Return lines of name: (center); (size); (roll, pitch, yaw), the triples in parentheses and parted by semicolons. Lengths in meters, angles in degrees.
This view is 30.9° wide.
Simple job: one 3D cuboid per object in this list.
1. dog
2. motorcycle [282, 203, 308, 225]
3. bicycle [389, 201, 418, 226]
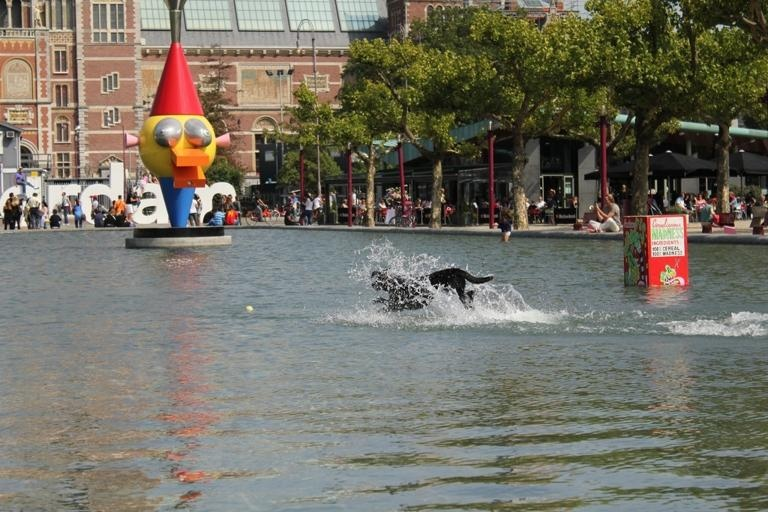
dog: (0.951, 0.632, 25.620); (2.391, 0.866, 0.469); (-8, 0, -23)
motorcycle: (-4.052, -1.884, 66.642); (0.922, 1.132, 1.248); (-7, -16, 31)
bicycle: (1.085, -1.635, 58.866); (0.721, 0.794, 1.361); (-5, 6, -2)
